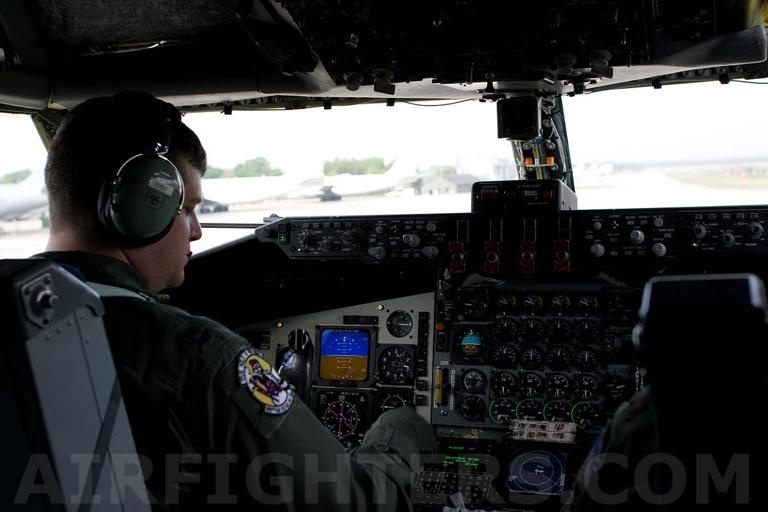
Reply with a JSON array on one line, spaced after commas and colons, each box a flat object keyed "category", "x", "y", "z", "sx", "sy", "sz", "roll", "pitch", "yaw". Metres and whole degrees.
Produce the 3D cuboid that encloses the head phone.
[{"category": "head phone", "x": -0.810, "y": -0.268, "z": 2.394, "sx": 0.211, "sy": 0.471, "sz": 0.519, "roll": 13, "pitch": -10, "yaw": -34}]
